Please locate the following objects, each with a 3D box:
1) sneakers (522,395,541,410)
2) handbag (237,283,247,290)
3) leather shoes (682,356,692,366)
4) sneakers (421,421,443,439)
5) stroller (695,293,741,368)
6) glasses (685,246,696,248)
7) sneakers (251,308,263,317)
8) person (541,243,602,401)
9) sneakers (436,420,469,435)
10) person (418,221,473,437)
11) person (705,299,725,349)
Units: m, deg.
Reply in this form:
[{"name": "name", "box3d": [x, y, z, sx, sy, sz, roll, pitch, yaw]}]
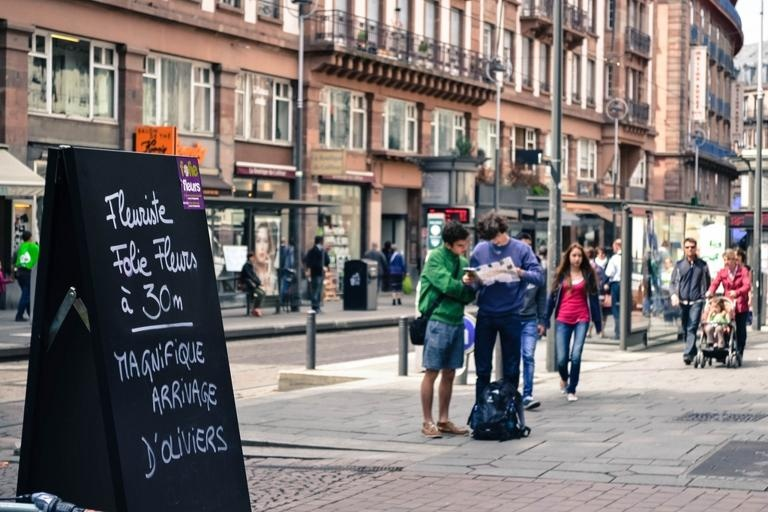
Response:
[{"name": "sneakers", "box3d": [2.277, 2.220, 18.993, 0.121, 0.163, 0.357, 3, -8, -39]}, {"name": "handbag", "box3d": [-3.543, 0.750, 31.291, 0.114, 0.159, 0.110, 1, -6, -25]}, {"name": "leather shoes", "box3d": [5.593, 1.892, 23.000, 0.153, 0.188, 0.224, -1, -1, 15]}, {"name": "sneakers", "box3d": [0.674, 2.417, 17.496, 0.151, 0.158, 0.348, 0, -3, -31]}, {"name": "stroller", "box3d": [6.073, 1.331, 22.746, 0.661, 1.241, 0.845, 2, 12, 27]}, {"name": "glasses", "box3d": [5.747, -0.177, 23.461, 0.152, 0.045, 0.087, -1, -1, 16]}, {"name": "sneakers", "box3d": [-3.199, 1.405, 31.588, 0.226, 0.164, 0.149, 8, 36, 6]}, {"name": "person", "box3d": [2.942, 1.017, 19.584, 0.823, 2.440, 0.428, -1, -1, 7]}, {"name": "sneakers", "box3d": [1.014, 2.411, 17.742, 0.520, 0.221, 0.182, 1, -1, -3]}, {"name": "person", "box3d": [0.873, 1.018, 17.553, 0.784, 2.999, 0.568, 0, -1, 1]}, {"name": "person", "box3d": [6.025, 1.200, 22.749, 0.356, 0.845, 0.452, -1, -1, 16]}]
